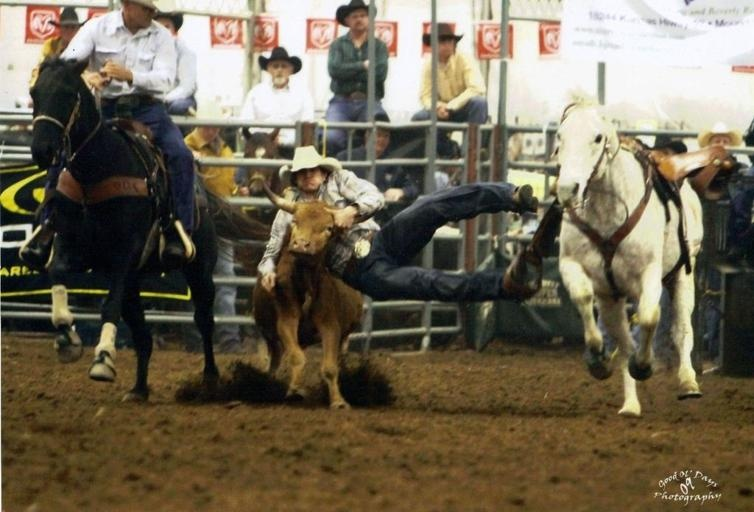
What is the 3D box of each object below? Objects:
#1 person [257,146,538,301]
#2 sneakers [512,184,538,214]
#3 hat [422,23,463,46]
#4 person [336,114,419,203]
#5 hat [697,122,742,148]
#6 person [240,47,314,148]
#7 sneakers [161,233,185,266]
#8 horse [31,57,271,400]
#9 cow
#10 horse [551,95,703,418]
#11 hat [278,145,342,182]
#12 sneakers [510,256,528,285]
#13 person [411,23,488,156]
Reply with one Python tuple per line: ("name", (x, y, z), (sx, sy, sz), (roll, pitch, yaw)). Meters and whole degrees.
("person", (0.148, -0.200, 9.084), (2.575, 1.102, 0.841), (9, 25, 36))
("sneakers", (1.153, -0.441, 8.729), (0.103, 0.161, 0.219), (-7, 16, -29))
("hat", (0.534, -1.807, 9.154), (0.238, 0.086, 0.205), (3, -8, -10))
("person", (0.079, -0.751, 9.328), (0.735, 0.713, 0.277), (-16, 12, -4))
("hat", (2.791, -0.974, 9.036), (0.226, 0.099, 0.252), (0, -14, 2))
("person", (-0.848, -1.352, 9.611), (0.667, 0.815, 0.452), (1, 0, -5))
("sneakers", (-1.757, -0.106, 9.577), (0.221, 0.130, 0.347), (6, 36, -22))
("horse", (-2.058, -0.077, 10.186), (0.947, 2.544, 4.089), (-5, -11, 16))
("cow", (-0.594, 0.521, 9.490), (0.906, 1.654, 2.467), (3, -13, -5))
("horse", (1.962, 0.037, 8.799), (1.434, 2.427, 0.565), (-1, 6, -17))
("hat", (-0.593, -0.761, 9.066), (0.327, 0.156, 0.376), (-12, 2, 5))
("sneakers", (1.121, 0.111, 8.849), (0.158, 0.211, 0.114), (12, 0, 33))
("person", (0.633, -1.357, 9.357), (0.653, 1.093, 0.659), (0, 15, 24))
